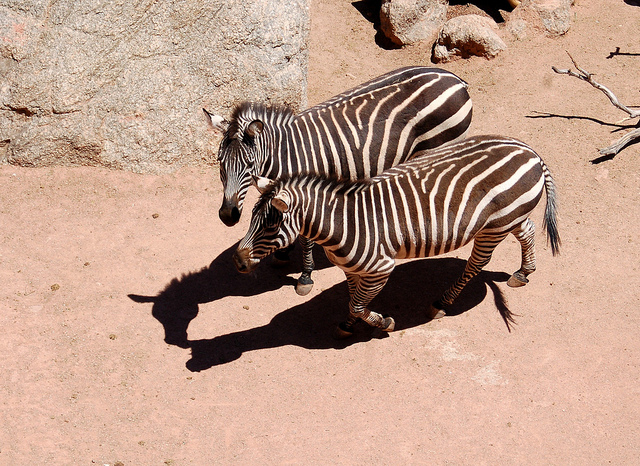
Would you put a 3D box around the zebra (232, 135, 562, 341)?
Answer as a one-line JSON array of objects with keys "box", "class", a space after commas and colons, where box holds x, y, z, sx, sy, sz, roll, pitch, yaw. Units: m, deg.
[{"box": [0.902, 0.080, 11.563, 2.857, 1.623, 0.830, -21, 47, -2], "class": "zebra"}]
